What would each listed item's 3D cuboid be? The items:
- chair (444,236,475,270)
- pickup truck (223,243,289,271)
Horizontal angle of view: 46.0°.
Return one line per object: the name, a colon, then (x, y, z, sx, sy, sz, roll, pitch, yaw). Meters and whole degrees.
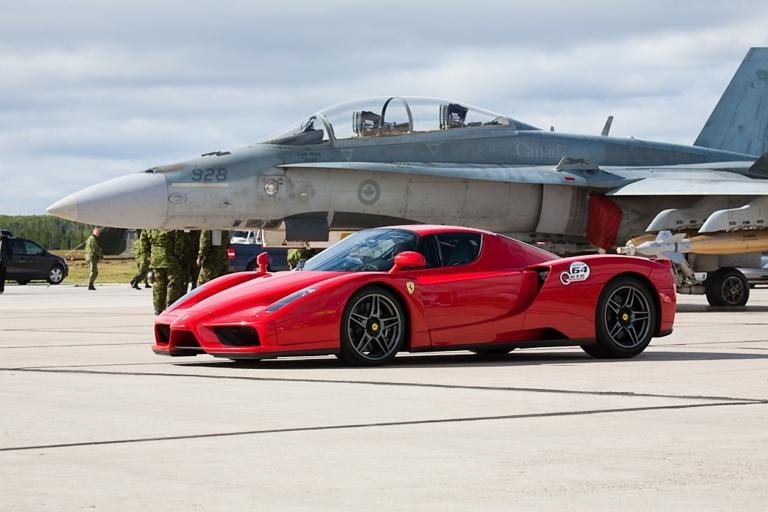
chair: (0.828, -0.022, 9.721, 0.317, 0.340, 0.113, -3, 19, -10)
pickup truck: (-4.035, 0.173, 27.532, 2.542, 0.727, 1.252, -1, 5, -1)
